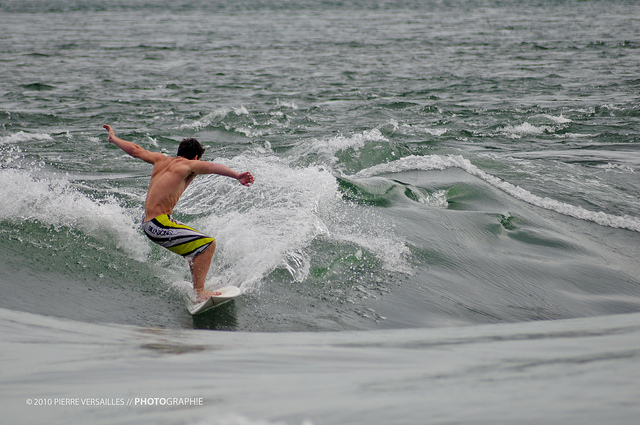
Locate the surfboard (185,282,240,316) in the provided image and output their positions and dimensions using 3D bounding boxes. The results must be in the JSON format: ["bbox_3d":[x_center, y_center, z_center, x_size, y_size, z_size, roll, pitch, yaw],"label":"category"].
[{"bbox_3d":[-2.006,1.594,14.739,1.015,0.326,0.700,-1,29,-6],"label":"surfboard"}]
